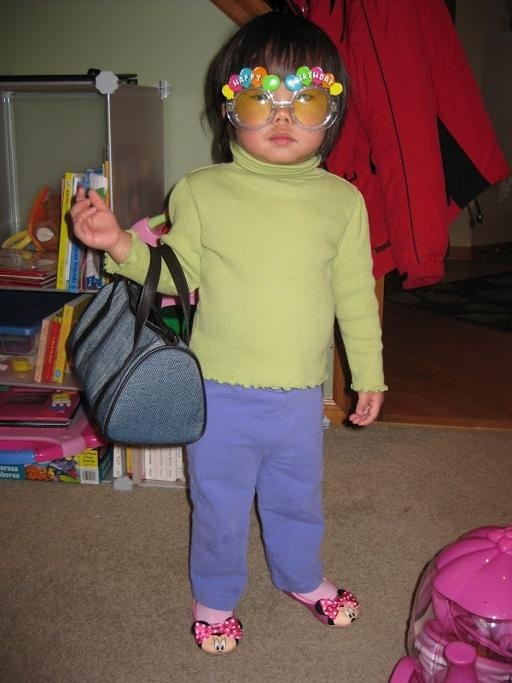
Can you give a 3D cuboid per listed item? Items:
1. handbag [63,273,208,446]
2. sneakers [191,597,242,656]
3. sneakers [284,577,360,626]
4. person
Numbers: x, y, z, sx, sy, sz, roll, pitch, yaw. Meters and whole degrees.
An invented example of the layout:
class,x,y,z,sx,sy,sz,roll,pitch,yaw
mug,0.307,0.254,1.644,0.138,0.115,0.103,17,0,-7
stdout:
class,x,y,z,sx,sy,sz,roll,pitch,yaw
handbag,-0.209,-0.020,1.009,0.186,0.322,0.343,5,22,-30
sneakers,-0.081,0.573,1.129,0.089,0.046,0.151,1,15,-12
sneakers,0.152,0.555,1.200,0.083,0.058,0.167,-26,26,-30
person,-0.070,0.020,1.017,0.576,1.101,0.254,-4,12,-22
